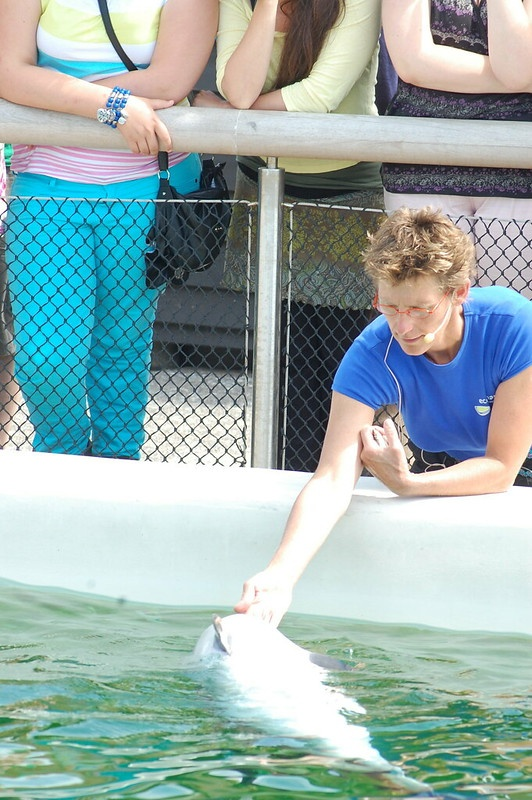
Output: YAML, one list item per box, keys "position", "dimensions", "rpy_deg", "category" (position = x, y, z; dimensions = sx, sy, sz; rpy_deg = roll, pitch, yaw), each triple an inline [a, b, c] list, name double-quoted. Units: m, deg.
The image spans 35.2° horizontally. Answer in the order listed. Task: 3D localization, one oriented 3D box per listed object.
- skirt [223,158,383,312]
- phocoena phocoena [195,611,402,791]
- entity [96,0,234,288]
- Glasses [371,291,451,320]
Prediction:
- position: [0.096, -0.386, 1.961]
  dimensions: [0.525, 0.387, 0.254]
  rpy_deg: [3, 13, 3]
  category: "skirt"
- position: [0.042, 0.389, 1.085]
  dimensions: [0.135, 0.090, 0.245]
  rpy_deg: [27, 5, -37]
  category: "phocoena phocoena"
- position: [-0.239, -0.581, 1.963]
  dimensions: [0.323, 0.640, 0.288]
  rpy_deg: [2, 3, -4]
  category: "entity"
- position: [0.233, -0.150, 1.351]
  dimensions: [0.112, 0.043, 0.039]
  rpy_deg: [2, 3, 12]
  category: "Glasses"
